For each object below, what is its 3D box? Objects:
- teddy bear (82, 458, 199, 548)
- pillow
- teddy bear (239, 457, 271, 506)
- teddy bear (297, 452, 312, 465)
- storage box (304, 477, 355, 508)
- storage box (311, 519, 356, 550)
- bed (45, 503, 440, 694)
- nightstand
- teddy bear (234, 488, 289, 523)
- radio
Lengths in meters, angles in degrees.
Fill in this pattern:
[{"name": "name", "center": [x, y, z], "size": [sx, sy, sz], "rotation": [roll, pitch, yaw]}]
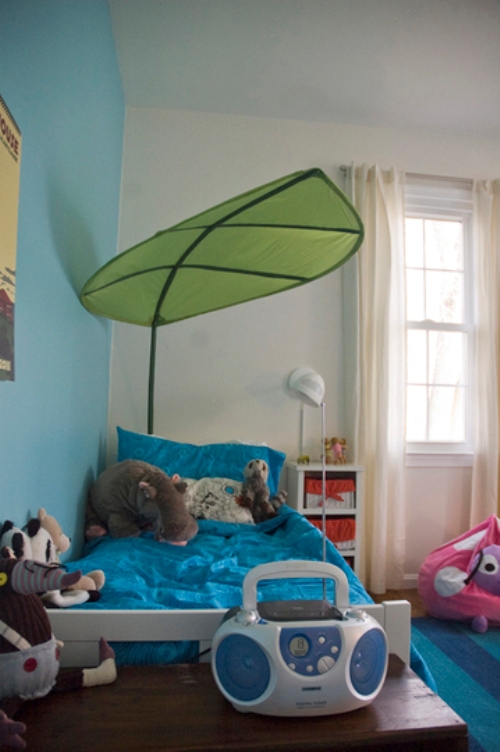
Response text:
[{"name": "teddy bear", "center": [-0.391, 0.476, 2.326], "size": [0.508, 0.264, 0.339], "rotation": [4, -3, 39]}, {"name": "pillow", "center": [-0.232, 0.350, 2.695], "size": [0.825, 0.281, 0.431], "rotation": [3, 2, -15]}, {"name": "teddy bear", "center": [0.023, 0.466, 2.620], "size": [0.140, 0.204, 0.156], "rotation": [5, -23, 13]}, {"name": "teddy bear", "center": [0.265, 0.418, 3.070], "size": [0.031, 0.067, 0.118], "rotation": [1, 1, 22]}, {"name": "storage box", "center": [0.391, 0.558, 2.887], "size": [0.162, 0.104, 0.165], "rotation": [1, -10, -3]}, {"name": "storage box", "center": [0.415, 0.727, 2.913], "size": [0.244, 0.113, 0.174], "rotation": [7, -11, -23]}, {"name": "bed", "center": [-0.084, 0.559, 1.843], "size": [1.051, 0.621, 0.620], "rotation": [1, -2, -4]}, {"name": "nightstand", "center": [0.353, 0.711, 3.002], "size": [0.336, 0.552, 0.312], "rotation": [1, -3, -8]}, {"name": "teddy bear", "center": [0.054, 0.534, 2.542], "size": [0.149, 0.055, 0.116], "rotation": [-2, -1, 37]}, {"name": "radio", "center": [0.088, 0.458, 1.114], "size": [0.308, 0.243, 0.188], "rotation": [1, 1, -3]}]
